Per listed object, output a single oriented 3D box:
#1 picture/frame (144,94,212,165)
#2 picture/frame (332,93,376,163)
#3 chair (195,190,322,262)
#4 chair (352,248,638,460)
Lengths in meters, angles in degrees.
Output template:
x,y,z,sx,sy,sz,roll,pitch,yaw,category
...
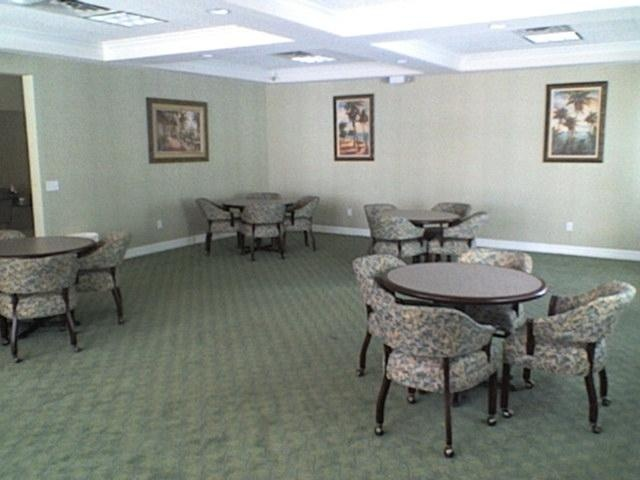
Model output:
x,y,z,sx,sy,sz,roll,pitch,yaw,category
-2.647,-2.022,8.048,0.097,1.208,1.359,12,15,41,picture/frame
0.707,-2.318,8.985,1.239,1.754,0.074,6,15,28,picture/frame
-1.153,-0.315,8.090,2.071,0.989,1.882,-5,14,-18,chair
1.144,0.674,3.148,1.448,0.737,1.475,-1,8,-3,chair
